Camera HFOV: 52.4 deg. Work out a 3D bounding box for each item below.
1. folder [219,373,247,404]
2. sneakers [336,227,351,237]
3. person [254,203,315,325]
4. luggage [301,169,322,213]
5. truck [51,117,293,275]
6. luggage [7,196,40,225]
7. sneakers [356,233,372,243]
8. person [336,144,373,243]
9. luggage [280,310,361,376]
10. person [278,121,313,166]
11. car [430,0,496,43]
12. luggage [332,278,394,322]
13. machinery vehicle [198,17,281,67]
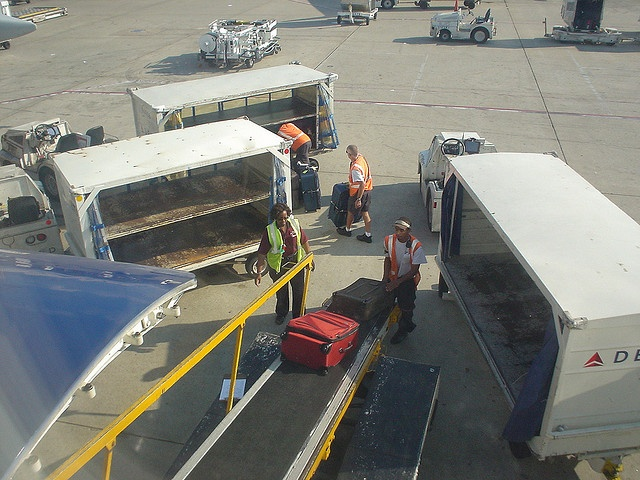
[{"bbox_3d":[-1.234,2.127,9.281,0.376,0.109,0.357,5,67,3],"label":"folder"},{"bbox_3d":[0.480,-0.162,13.579,0.316,0.134,0.128,27,38,29],"label":"sneakers"},{"bbox_3d":[-0.612,0.428,10.776,0.898,2.135,1.019,-13,30,-17],"label":"person"},{"bbox_3d":[-0.241,-1.053,14.418,0.364,0.902,0.583,-7,74,7],"label":"luggage"},{"bbox_3d":[-2.683,-0.628,12.165,3.977,2.634,2.539,-18,32,-27],"label":"truck"},{"bbox_3d":[-5.493,-0.617,12.006,0.530,0.443,0.509,-5,28,-23],"label":"luggage"},{"bbox_3d":[0.899,-0.035,13.330,0.128,0.132,0.338,-15,24,-26],"label":"sneakers"},{"bbox_3d":[0.709,-0.958,13.182,0.626,1.953,0.765,-1,29,4],"label":"person"},{"bbox_3d":[0.025,1.420,9.338,1.036,0.485,1.185,9,17,9],"label":"luggage"},{"bbox_3d":[-0.562,-2.229,14.822,1.014,0.373,0.694,42,78,7],"label":"person"},{"bbox_3d":[6.769,-10.215,30.876,3.341,1.732,1.960,7,38,10],"label":"car"},{"bbox_3d":[0.742,0.910,10.231,0.606,0.294,0.801,24,35,39],"label":"luggage"},{"bbox_3d":[-3.540,-8.094,27.187,2.076,1.512,3.518,10,30,22],"label":"machinery vehicle"}]
